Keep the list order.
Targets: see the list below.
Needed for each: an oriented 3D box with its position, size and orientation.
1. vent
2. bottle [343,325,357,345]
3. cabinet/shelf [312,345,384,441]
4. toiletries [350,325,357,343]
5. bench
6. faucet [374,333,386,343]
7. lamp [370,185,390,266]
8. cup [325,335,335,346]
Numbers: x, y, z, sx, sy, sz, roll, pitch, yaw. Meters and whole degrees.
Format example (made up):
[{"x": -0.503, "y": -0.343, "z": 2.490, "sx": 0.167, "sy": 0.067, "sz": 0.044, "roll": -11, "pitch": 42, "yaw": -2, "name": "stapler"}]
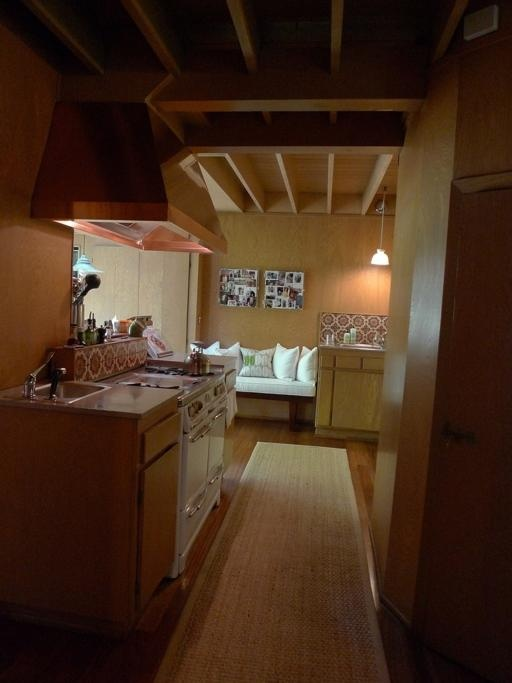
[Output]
[{"x": -0.720, "y": -0.814, "z": 2.677, "sx": 0.621, "sy": 0.609, "sz": 1.253, "roll": -1, "pitch": 1, "yaw": -8, "name": "vent"}, {"x": 1.073, "y": -0.077, "z": 5.307, "sx": 0.105, "sy": 0.223, "sz": 0.207, "roll": 6, "pitch": 10, "yaw": 24, "name": "bottle"}, {"x": 0.918, "y": 0.517, "z": 4.709, "sx": 0.714, "sy": 0.988, "sz": 0.457, "roll": 3, "pitch": 6, "yaw": 9, "name": "cabinet/shelf"}, {"x": 1.079, "y": -0.089, "z": 5.331, "sx": 0.069, "sy": 0.183, "sz": 0.171, "roll": 3, "pitch": 3, "yaw": 12, "name": "toiletries"}, {"x": 0.208, "y": 0.659, "z": 5.273, "sx": 0.869, "sy": 0.522, "sz": 0.542, "roll": 3, "pitch": 3, "yaw": 5, "name": "bench"}, {"x": 1.378, "y": -0.047, "z": 5.369, "sx": 0.107, "sy": 0.121, "sz": 0.029, "roll": 0, "pitch": -6, "yaw": 32, "name": "faucet"}, {"x": 1.296, "y": -1.173, "z": 4.993, "sx": 0.200, "sy": 0.727, "sz": 0.672, "roll": 3, "pitch": 3, "yaw": 15, "name": "lamp"}, {"x": 0.826, "y": -0.037, "z": 5.398, "sx": 0.107, "sy": 0.111, "sz": 0.124, "roll": 3, "pitch": 3, "yaw": 9, "name": "cup"}]
